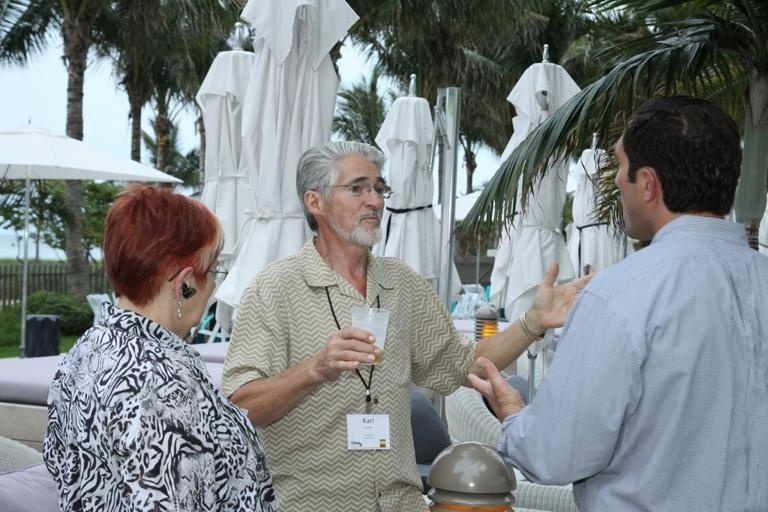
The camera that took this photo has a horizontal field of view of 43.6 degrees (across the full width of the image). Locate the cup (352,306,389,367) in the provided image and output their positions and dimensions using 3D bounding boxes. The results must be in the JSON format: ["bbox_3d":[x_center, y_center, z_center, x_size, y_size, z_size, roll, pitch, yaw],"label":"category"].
[{"bbox_3d":[-0.056,0.424,5.074,0.217,0.298,0.243,2,-10,-8],"label":"cup"}]

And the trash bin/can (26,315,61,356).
[{"bbox_3d":[-3.310,0.776,9.420,0.316,0.446,0.351,-1,-3,23],"label":"trash bin/can"}]
